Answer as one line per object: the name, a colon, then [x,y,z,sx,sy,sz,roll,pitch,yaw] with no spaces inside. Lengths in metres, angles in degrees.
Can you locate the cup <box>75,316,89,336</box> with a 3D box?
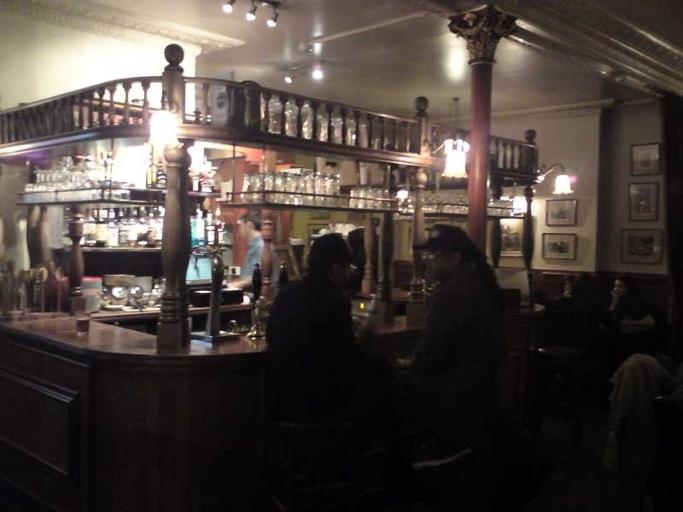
cup: [-2.125,0.572,5.180,0.134,0.146,0.134,3,0,0]

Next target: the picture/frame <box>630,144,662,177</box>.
picture/frame: [4.981,-1.557,10.226,0.048,0.638,0.548,6,-8,-40]

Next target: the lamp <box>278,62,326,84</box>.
lamp: [-0.564,-2.751,9.488,0.433,0.122,0.266,-2,4,-39]

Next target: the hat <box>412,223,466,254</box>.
hat: [0.708,-0.119,4.415,0.272,0.132,0.173,3,0,8]

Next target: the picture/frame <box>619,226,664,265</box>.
picture/frame: [4.931,-0.169,10.245,0.065,0.570,0.628,13,-7,-40]

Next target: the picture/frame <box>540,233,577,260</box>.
picture/frame: [3.847,-0.183,11.032,0.459,0.392,0.063,4,5,41]

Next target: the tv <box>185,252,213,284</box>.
tv: [-1.629,0.129,7.383,0.100,0.385,0.419,2,1,25]

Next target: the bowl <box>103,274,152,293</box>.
bowl: [-2.354,0.291,6.926,0.420,0.198,0.690,1,3,1]

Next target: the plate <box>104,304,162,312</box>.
plate: [-2.167,0.528,6.492,0.545,0.072,0.250,-1,3,-20]

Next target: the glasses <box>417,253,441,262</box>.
glasses: [0.755,0.007,5.449,0.113,0.039,0.111,1,4,-24]

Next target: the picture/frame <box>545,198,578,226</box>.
picture/frame: [3.866,-0.771,10.969,0.495,0.452,0.050,2,0,36]
